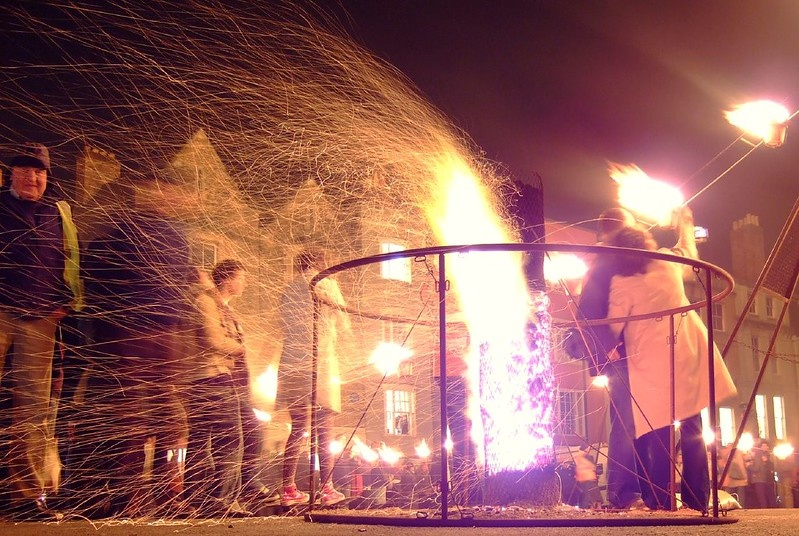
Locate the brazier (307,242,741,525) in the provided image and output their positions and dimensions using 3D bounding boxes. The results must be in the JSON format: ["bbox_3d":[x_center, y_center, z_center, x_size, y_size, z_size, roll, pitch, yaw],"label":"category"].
[{"bbox_3d":[0.971,0.677,6.667,3.352,2.726,1.906,3,-22,-7],"label":"brazier"}]

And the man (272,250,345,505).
[{"bbox_3d":[-1.079,1.227,8.340,0.628,2.077,0.701,-17,-18,11],"label":"man"}]
